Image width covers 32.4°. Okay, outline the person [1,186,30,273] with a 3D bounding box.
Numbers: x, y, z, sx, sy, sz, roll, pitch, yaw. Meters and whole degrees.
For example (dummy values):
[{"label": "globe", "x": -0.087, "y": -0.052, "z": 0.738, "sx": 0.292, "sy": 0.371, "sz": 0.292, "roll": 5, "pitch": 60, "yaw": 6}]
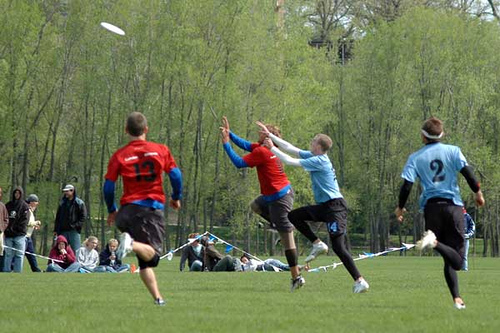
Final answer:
[{"label": "person", "x": -10.340, "y": 2.864, "z": 38.118, "sx": 1.073, "sy": 3.496, "sz": 1.268, "roll": 1, "pitch": -2, "yaw": -8}]
